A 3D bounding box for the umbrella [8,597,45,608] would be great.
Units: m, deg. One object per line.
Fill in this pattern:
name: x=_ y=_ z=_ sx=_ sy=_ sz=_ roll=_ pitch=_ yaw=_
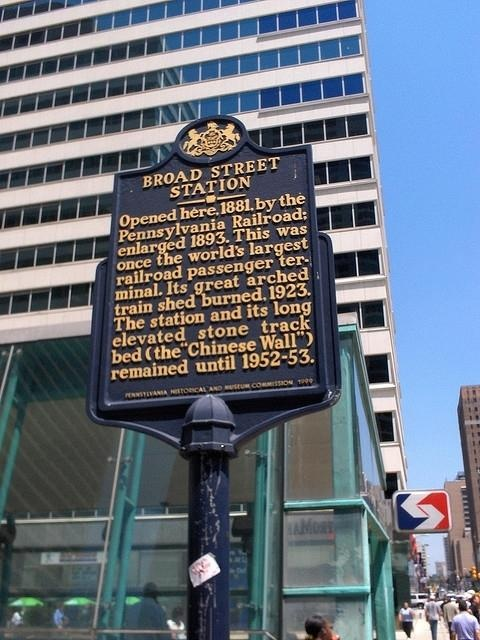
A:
umbrella: x=-2.839 y=3.808 z=9.876 sx=0.531 sy=0.142 sz=0.047 roll=-13 pitch=-33 yaw=21
